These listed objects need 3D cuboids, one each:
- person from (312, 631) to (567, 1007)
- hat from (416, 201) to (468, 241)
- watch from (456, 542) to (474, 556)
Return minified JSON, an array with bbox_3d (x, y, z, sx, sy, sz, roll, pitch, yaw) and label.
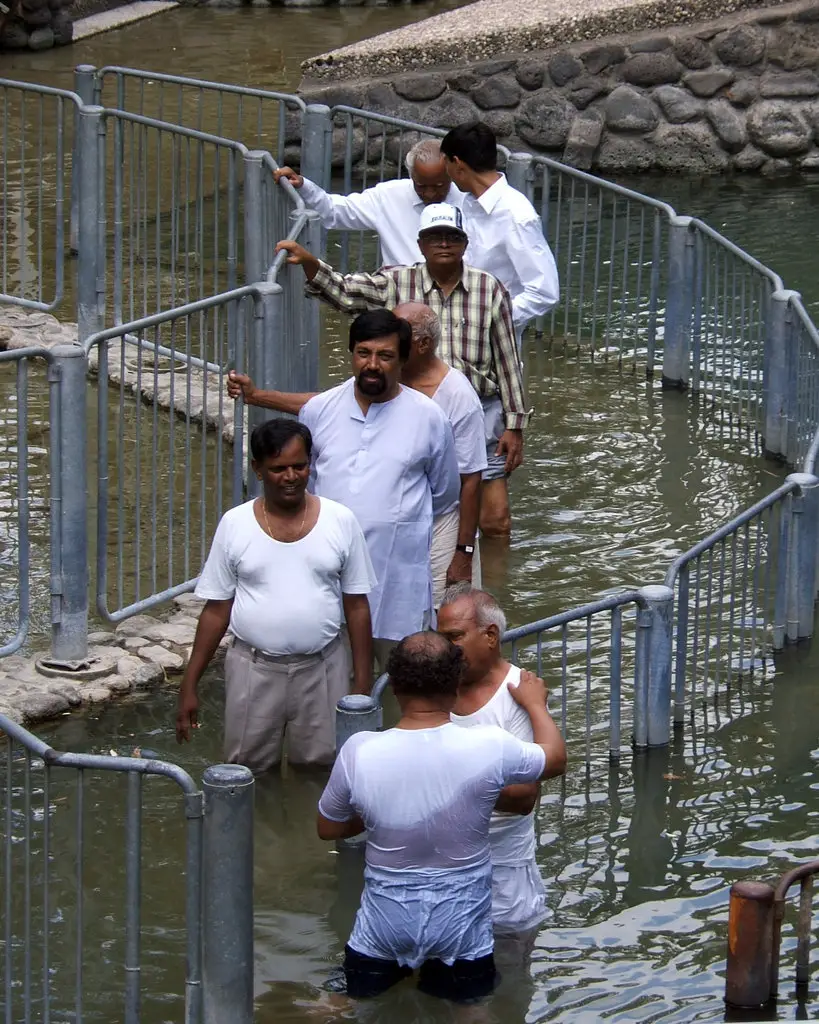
[{"bbox_3d":[0.102,0.914,7.537,0.737,1.119,0.480,0,1,-9],"label":"person"},{"bbox_3d":[0.137,-1.131,9.835,0.272,0.138,0.378,2,8,-2],"label":"hat"},{"bbox_3d":[0.213,0.141,9.491,0.055,0.031,0.052,3,-10,29],"label":"watch"}]
